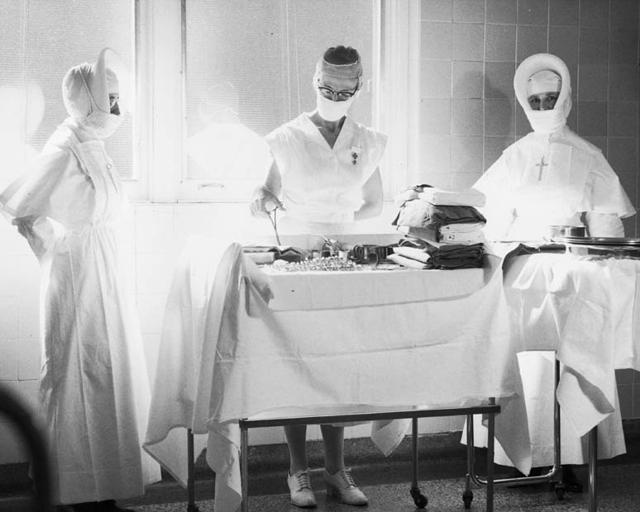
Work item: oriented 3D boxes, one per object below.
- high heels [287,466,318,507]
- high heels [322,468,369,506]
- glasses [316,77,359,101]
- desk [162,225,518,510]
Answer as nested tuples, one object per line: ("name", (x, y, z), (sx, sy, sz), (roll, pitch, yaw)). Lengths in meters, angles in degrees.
("high heels", (-0.081, 1.065, 3.987), (0.082, 0.087, 0.231), (-1, 1, -12))
("high heels", (0.111, 1.067, 4.032), (0.098, 0.129, 0.279), (3, -4, -38))
("glasses", (0.081, -0.754, 4.040), (0.195, 0.102, 0.085), (0, 13, -1))
("desk", (0.011, 0.342, 4.088), (1.464, 0.895, 1.185), (0, -1, -11))
